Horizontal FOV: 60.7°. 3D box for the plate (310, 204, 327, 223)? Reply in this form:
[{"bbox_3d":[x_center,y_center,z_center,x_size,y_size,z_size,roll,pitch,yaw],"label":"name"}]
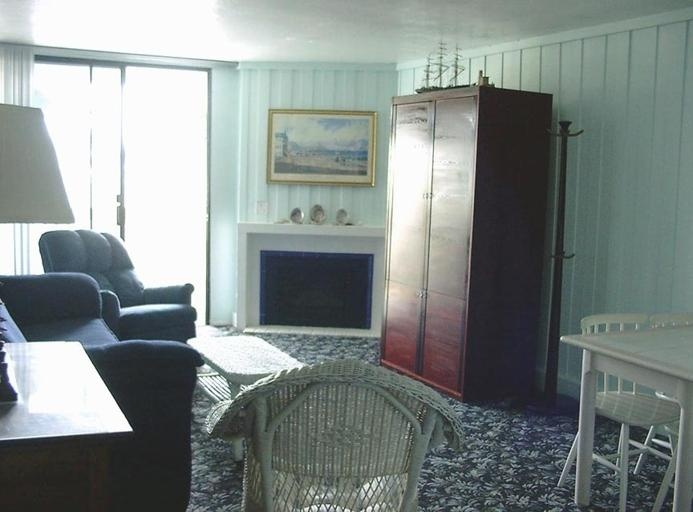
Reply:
[{"bbox_3d":[-0.313,-0.463,6.483,0.165,0.202,0.131,0,10,-5],"label":"plate"}]

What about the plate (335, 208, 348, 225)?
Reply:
[{"bbox_3d":[-0.056,-0.424,6.402,0.150,0.150,0.049,5,-7,0],"label":"plate"}]

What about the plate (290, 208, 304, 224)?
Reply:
[{"bbox_3d":[-0.546,-0.436,6.441,0.040,0.153,0.161,5,28,-47],"label":"plate"}]
